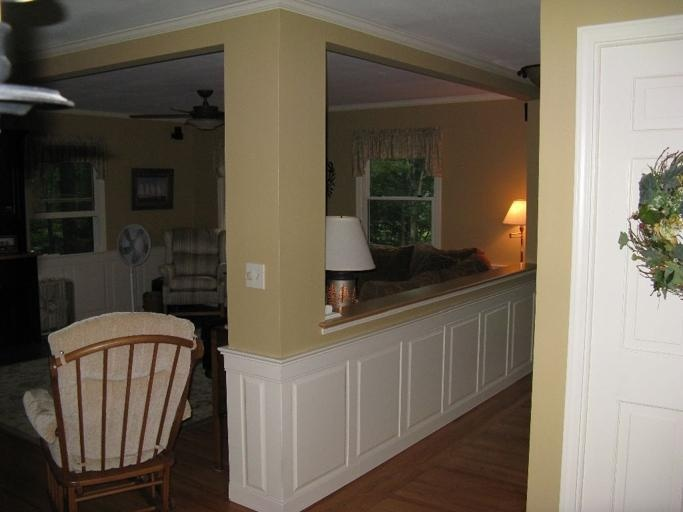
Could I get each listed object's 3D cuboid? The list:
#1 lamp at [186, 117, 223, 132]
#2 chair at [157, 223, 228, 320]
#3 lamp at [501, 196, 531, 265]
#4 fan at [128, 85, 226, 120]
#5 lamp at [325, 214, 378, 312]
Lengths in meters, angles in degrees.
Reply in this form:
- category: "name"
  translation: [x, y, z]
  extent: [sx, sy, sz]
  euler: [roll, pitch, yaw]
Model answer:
- category: "lamp"
  translation: [-1.238, -1.199, 5.014]
  extent: [0.274, 0.075, 0.362]
  euler: [-4, 10, -24]
- category: "chair"
  translation: [-2.026, 0.213, 7.733]
  extent: [0.960, 1.255, 0.965]
  euler: [-1, 3, -26]
- category: "lamp"
  translation: [1.950, -0.258, 6.240]
  extent: [0.236, 0.752, 0.807]
  euler: [3, 9, 17]
- category: "fan"
  translation: [-1.423, -1.328, 5.157]
  extent: [0.807, 0.236, 0.816]
  euler: [6, 8, 38]
- category: "lamp"
  translation: [0.036, 0.058, 3.743]
  extent: [0.321, 0.636, 0.559]
  euler: [5, 11, 31]
